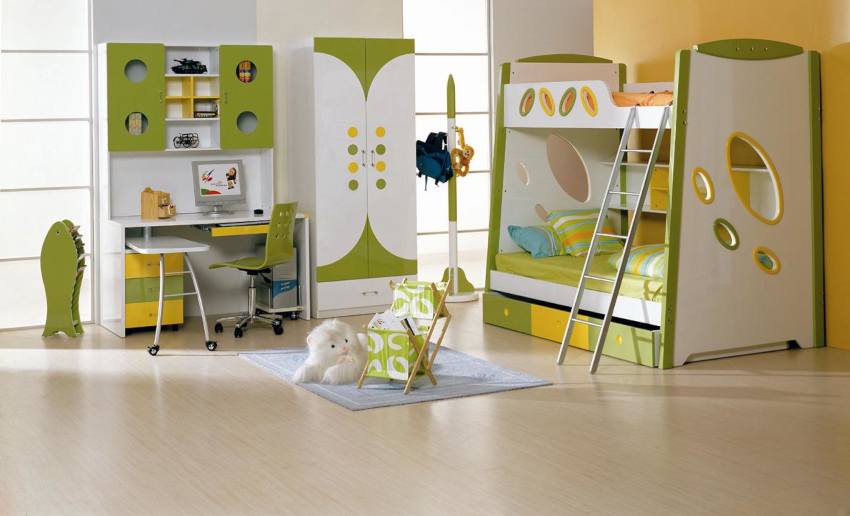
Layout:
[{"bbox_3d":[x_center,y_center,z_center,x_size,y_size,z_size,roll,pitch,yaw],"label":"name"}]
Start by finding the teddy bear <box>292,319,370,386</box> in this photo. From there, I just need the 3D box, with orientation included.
[{"bbox_3d":[-0.747,0.771,5.355,0.397,0.358,0.629,0,3,0],"label":"teddy bear"}]

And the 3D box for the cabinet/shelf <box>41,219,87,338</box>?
[{"bbox_3d":[-3.551,0.224,6.497,0.399,1.061,0.149,-2,0,24],"label":"cabinet/shelf"}]

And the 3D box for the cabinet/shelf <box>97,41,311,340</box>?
[{"bbox_3d":[-2.262,-0.718,6.618,1.695,2.713,1.401,-4,10,-28],"label":"cabinet/shelf"}]

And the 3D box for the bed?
[{"bbox_3d":[2.074,-0.597,6.750,2.382,2.586,2.828,-5,7,-19],"label":"bed"}]

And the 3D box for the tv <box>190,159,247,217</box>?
[{"bbox_3d":[-2.222,-0.750,7.066,0.639,0.654,0.287,-3,3,-24],"label":"tv"}]

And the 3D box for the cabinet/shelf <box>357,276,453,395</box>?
[{"bbox_3d":[-0.152,0.626,5.315,0.550,0.751,0.579,-1,5,36],"label":"cabinet/shelf"}]

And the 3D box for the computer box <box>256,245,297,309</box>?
[{"bbox_3d":[-1.526,0.271,7.354,0.623,0.837,0.467,0,4,-21],"label":"computer box"}]

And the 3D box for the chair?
[{"bbox_3d":[-1.792,0.130,6.703,0.876,1.252,0.817,-3,5,19],"label":"chair"}]

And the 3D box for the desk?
[{"bbox_3d":[-2.448,0.423,6.611,0.697,0.981,1.361,-2,-4,-23],"label":"desk"}]
